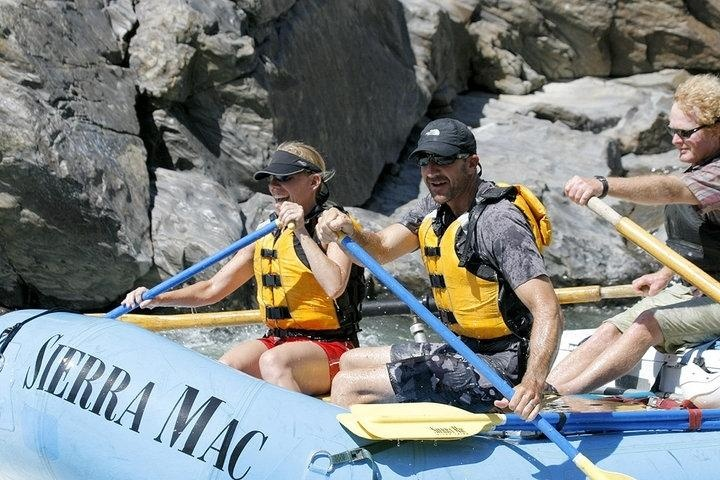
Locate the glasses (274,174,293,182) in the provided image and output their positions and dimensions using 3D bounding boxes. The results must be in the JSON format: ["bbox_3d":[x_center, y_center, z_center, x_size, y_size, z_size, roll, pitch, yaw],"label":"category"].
[{"bbox_3d":[-0.601,-0.476,8.127,0.141,0.063,0.087,-7,-3,34],"label":"glasses"}]

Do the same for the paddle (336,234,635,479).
[{"bbox_3d":[0.866,0.912,7.763,2.316,0.427,0.208,42,27,9],"label":"paddle"}]

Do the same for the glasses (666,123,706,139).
[{"bbox_3d":[2.527,-0.852,8.128,0.347,0.117,0.104,17,38,38],"label":"glasses"}]

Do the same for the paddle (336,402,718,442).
[{"bbox_3d":[1.102,1.290,7.321,2.871,0.434,0.206,1,11,-5],"label":"paddle"}]

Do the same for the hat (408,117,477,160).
[{"bbox_3d":[0.646,-0.767,7.745,0.394,0.204,0.286,5,-5,-37],"label":"hat"}]
